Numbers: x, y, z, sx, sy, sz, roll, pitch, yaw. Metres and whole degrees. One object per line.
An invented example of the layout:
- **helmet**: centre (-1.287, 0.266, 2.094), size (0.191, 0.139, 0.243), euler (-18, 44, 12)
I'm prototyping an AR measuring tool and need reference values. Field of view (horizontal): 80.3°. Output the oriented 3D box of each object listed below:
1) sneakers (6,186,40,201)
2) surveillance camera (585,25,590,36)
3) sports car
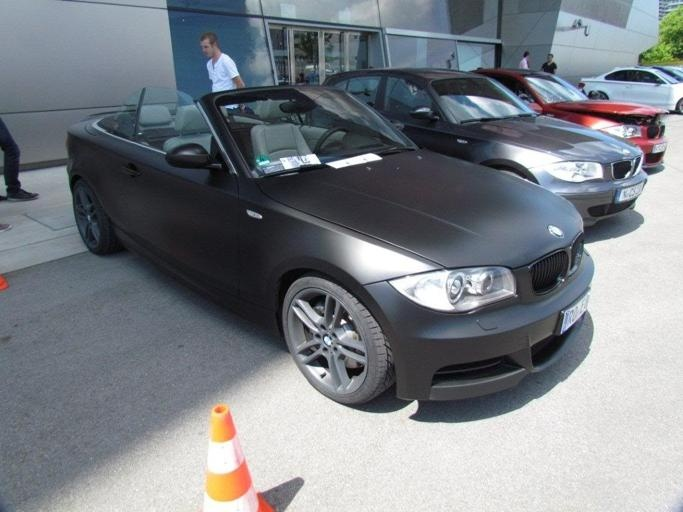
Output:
- **sneakers**: centre (-5.135, -0.971, 6.489), size (0.575, 0.241, 0.204), euler (-3, 26, -23)
- **surveillance camera**: centre (13.845, -12.701, 22.881), size (0.341, 0.642, 0.118), euler (4, -9, 1)
- **sports car**: centre (-0.595, -0.416, 3.453), size (4.535, 1.448, 2.049), euler (18, 29, 33)
